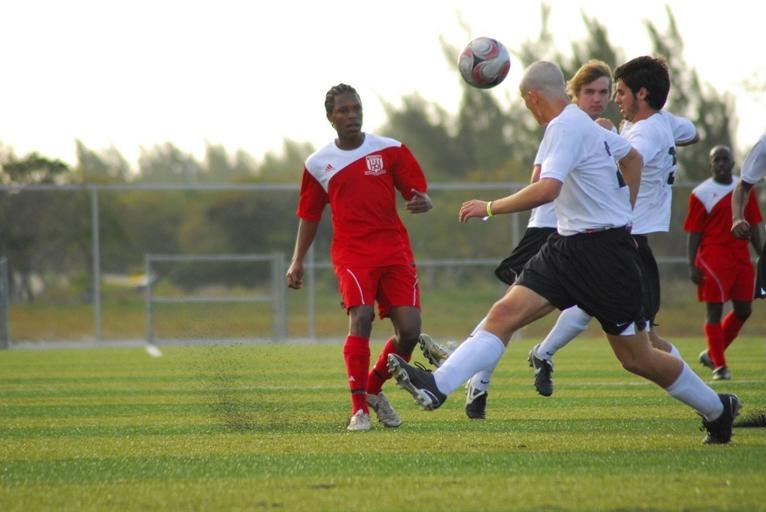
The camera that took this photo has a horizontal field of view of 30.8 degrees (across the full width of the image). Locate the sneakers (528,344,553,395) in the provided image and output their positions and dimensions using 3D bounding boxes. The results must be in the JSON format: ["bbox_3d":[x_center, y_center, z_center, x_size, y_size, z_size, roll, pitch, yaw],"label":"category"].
[{"bbox_3d":[1.425,1.035,12.296,0.170,0.479,0.225,-6,0,-41],"label":"sneakers"}]

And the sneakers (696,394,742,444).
[{"bbox_3d":[2.632,1.300,10.901,0.255,0.527,0.173,3,1,-45],"label":"sneakers"}]
